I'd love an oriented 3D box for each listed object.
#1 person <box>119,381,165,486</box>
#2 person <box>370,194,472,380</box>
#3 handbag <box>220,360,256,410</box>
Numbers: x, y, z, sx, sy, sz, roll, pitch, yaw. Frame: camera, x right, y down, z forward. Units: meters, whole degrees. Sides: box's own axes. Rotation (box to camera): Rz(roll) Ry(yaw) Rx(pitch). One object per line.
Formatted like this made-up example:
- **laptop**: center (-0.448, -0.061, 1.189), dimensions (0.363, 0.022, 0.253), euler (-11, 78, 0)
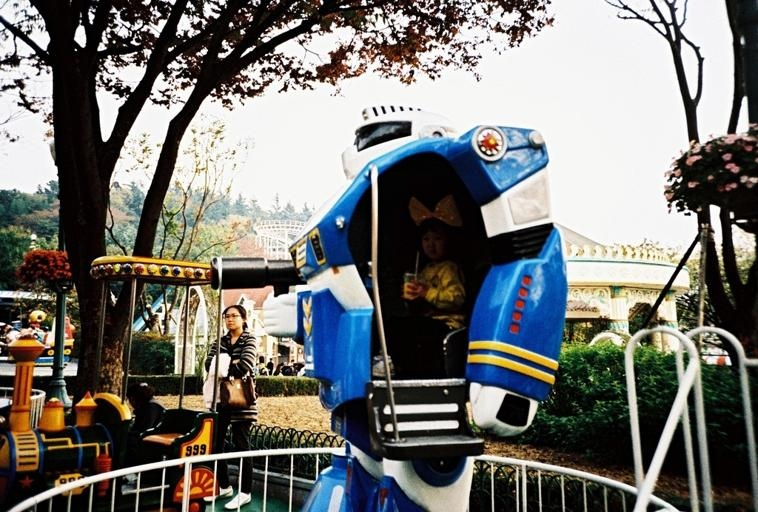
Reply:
- **person**: center (-3.025, 2.250, 7.386), dimensions (0.456, 1.165, 1.209), euler (6, -7, -22)
- **person**: center (0.376, 0.275, 4.859), dimensions (0.850, 1.558, 0.918), euler (0, 3, 43)
- **handbag**: center (-1.734, 1.676, 7.597), dimensions (0.656, 0.689, 0.376), euler (2, -26, -12)
